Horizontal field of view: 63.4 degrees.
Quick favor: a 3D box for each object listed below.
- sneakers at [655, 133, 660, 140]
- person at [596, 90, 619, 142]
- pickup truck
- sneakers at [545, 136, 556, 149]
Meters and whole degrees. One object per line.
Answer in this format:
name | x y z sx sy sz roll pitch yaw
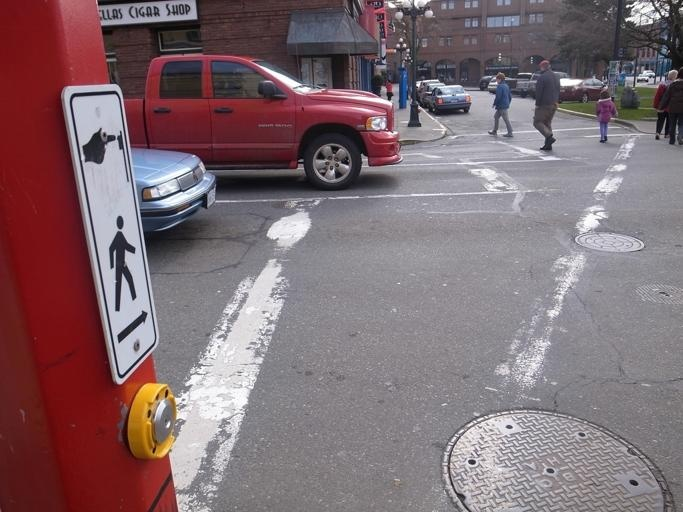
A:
sneakers | 9.084 -3.410 15.803 0.121 0.165 0.374 0 5 21
person | 7.423 -3.955 15.538 0.495 1.368 1.445 8 20 23
pickup truck | -1.375 -2.473 10.163 4.955 1.781 2.186 1 23 3
sneakers | 5.302 -2.881 14.004 0.163 0.486 0.200 -12 -18 37
